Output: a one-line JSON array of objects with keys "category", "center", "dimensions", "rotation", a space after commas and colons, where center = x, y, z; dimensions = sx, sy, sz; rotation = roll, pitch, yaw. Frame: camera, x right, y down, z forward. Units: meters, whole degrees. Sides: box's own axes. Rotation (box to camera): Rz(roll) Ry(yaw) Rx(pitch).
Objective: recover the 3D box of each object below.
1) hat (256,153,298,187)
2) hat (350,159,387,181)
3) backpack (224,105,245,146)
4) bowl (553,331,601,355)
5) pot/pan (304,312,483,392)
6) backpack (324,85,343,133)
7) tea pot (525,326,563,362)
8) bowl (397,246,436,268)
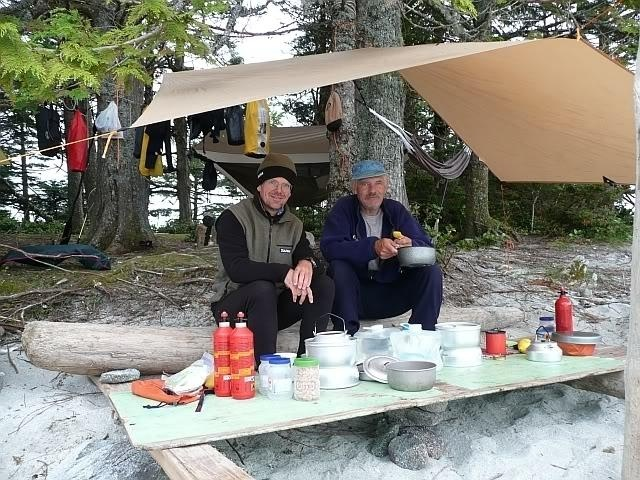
[{"category": "hat", "center": [-0.273, -0.485, 3.234], "dimensions": [0.245, 0.155, 0.226], "rotation": [14, -13, -19]}, {"category": "hat", "center": [0.354, -0.523, 3.556], "dimensions": [0.374, 0.127, 0.473], "rotation": [-3, 4, -1]}, {"category": "backpack", "center": [-1.049, -1.429, 5.851], "dimensions": [0.242, 0.467, 0.305], "rotation": [-3, 10, -9]}, {"category": "bowl", "center": [1.681, 0.642, 3.071], "dimensions": [0.211, 0.074, 0.199], "rotation": [-2, -1, 0]}, {"category": "pot/pan", "center": [0.292, 0.584, 2.609], "dimensions": [0.674, 0.200, 0.435], "rotation": [-4, -4, 33]}, {"category": "backpack", "center": [0.130, -1.233, 4.452], "dimensions": [0.160, 0.423, 0.251], "rotation": [-1, 10, 2]}, {"category": "tea pot", "center": [1.401, 0.654, 2.985], "dimensions": [0.202, 0.184, 0.185], "rotation": [-1, 5, 0]}, {"category": "bowl", "center": [0.637, 0.108, 2.982], "dimensions": [0.261, 0.145, 0.136], "rotation": [-6, 11, -25]}]
